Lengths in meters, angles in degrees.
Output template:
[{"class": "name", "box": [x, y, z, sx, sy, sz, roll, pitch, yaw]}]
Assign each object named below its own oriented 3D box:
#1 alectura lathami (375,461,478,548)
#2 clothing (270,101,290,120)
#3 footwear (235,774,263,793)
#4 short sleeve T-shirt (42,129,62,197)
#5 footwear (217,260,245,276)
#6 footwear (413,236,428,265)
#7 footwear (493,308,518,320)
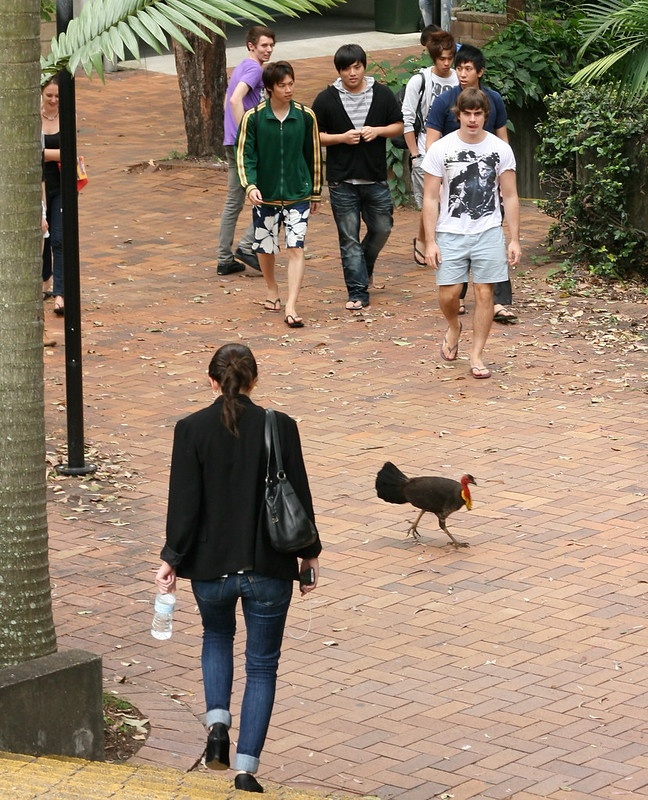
[{"class": "alectura lathami", "box": [0.608, 0.587, 5.970, 0.615, 0.387, 0.273, 11, 14, 44]}, {"class": "clothing", "box": [-0.392, -2.650, 9.692, 0.168, 0.172, 0.116, -5, -12, -3]}, {"class": "footwear", "box": [-0.246, 1.238, 3.371, 0.051, 0.037, 0.125, -30, -37, 25]}, {"class": "short sleeve T-shirt", "box": [-2.500, -2.195, 9.658, 0.148, 0.580, 0.289, -4, 7, -14]}, {"class": "footwear", "box": [-0.981, -1.472, 11.713, 0.135, 0.139, 0.397, 18, 23, 41]}, {"class": "footwear", "box": [1.077, -1.658, 11.685, 0.152, 0.314, 0.093, -6, 8, 0]}, {"class": "footwear", "box": [1.730, -0.808, 10.028, 0.135, 0.063, 0.298, -4, 6, -11]}]
